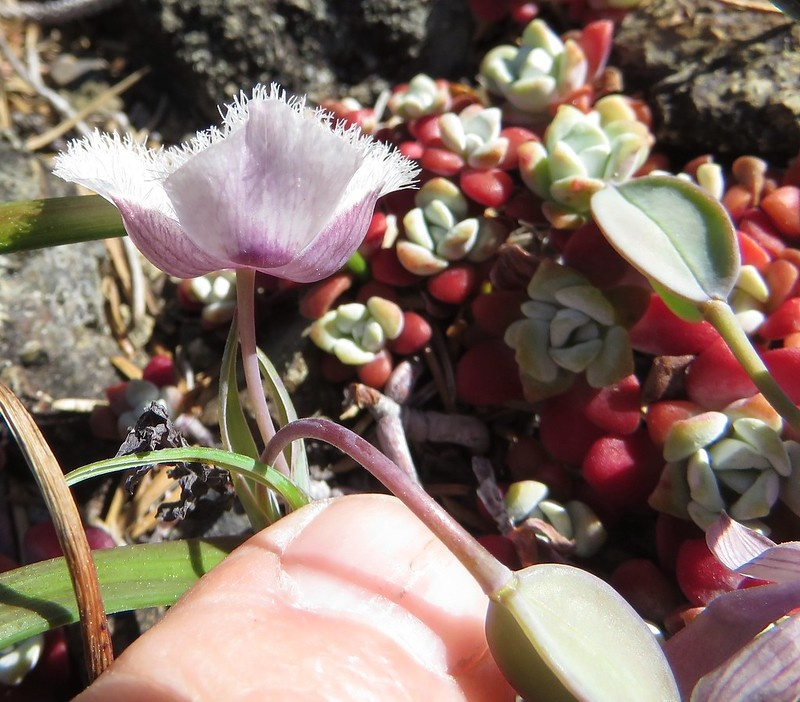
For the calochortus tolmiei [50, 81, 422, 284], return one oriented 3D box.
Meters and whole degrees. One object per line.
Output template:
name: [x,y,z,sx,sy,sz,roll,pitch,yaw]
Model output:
calochortus tolmiei: [-0.142,-0.155,0.709,0.279,0.169,0.158,17,29,12]
